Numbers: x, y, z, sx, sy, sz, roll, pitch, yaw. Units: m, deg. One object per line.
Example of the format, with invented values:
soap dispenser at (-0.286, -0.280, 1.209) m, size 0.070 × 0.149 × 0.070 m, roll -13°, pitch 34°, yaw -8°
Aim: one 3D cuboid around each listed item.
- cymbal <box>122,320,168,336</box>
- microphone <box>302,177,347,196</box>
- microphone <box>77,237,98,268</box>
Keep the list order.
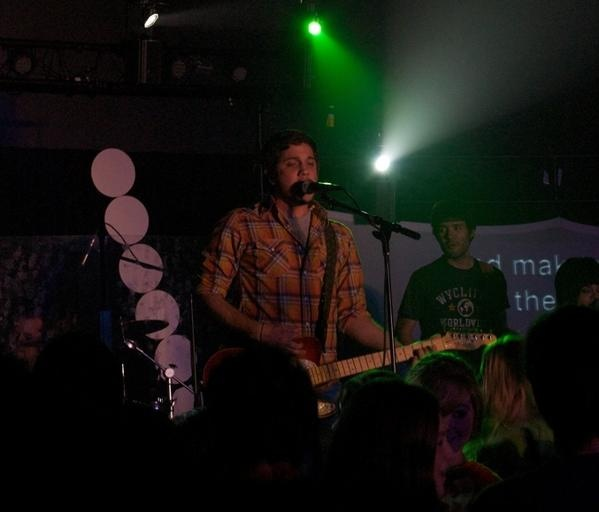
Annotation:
cymbal at (-1.212, 0.563, 5.298) m, size 0.185 × 0.039 × 0.174 m, roll -15°, pitch -28°, yaw 5°
microphone at (0.145, -0.394, 3.825) m, size 0.094 × 0.088 × 0.323 m, roll 27°, pitch -15°, yaw -31°
microphone at (-1.727, -0.011, 5.555) m, size 0.020 × 0.265 × 0.045 m, roll 29°, pitch -21°, yaw -7°
